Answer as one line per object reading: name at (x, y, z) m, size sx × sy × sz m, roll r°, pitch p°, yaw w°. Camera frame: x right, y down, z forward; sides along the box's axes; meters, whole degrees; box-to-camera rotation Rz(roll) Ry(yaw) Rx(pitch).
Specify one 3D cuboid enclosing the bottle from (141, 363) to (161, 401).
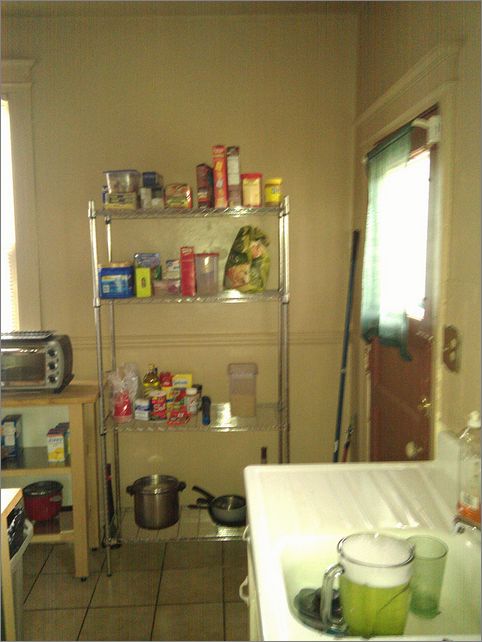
bottle at (-0.355, 0.242, 2.606) m, size 0.070 × 0.130 × 0.083 m, roll -6°, pitch 10°, yaw -34°

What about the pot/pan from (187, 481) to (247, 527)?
pot/pan at (-0.086, 0.765, 2.677) m, size 0.236 × 0.115 × 0.158 m, roll 2°, pitch 3°, yaw 40°

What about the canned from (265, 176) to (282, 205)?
canned at (0.134, -0.488, 2.449) m, size 0.055 × 0.098 × 0.197 m, roll 2°, pitch 9°, yaw 13°

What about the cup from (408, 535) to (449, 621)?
cup at (0.349, 0.472, 1.195) m, size 0.041 × 0.147 × 0.113 m, roll 3°, pitch 9°, yaw 11°

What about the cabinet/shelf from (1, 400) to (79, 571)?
cabinet/shelf at (-0.722, 0.623, 2.450) m, size 0.308 × 0.680 × 0.270 m, roll 2°, pitch 7°, yaw -2°
